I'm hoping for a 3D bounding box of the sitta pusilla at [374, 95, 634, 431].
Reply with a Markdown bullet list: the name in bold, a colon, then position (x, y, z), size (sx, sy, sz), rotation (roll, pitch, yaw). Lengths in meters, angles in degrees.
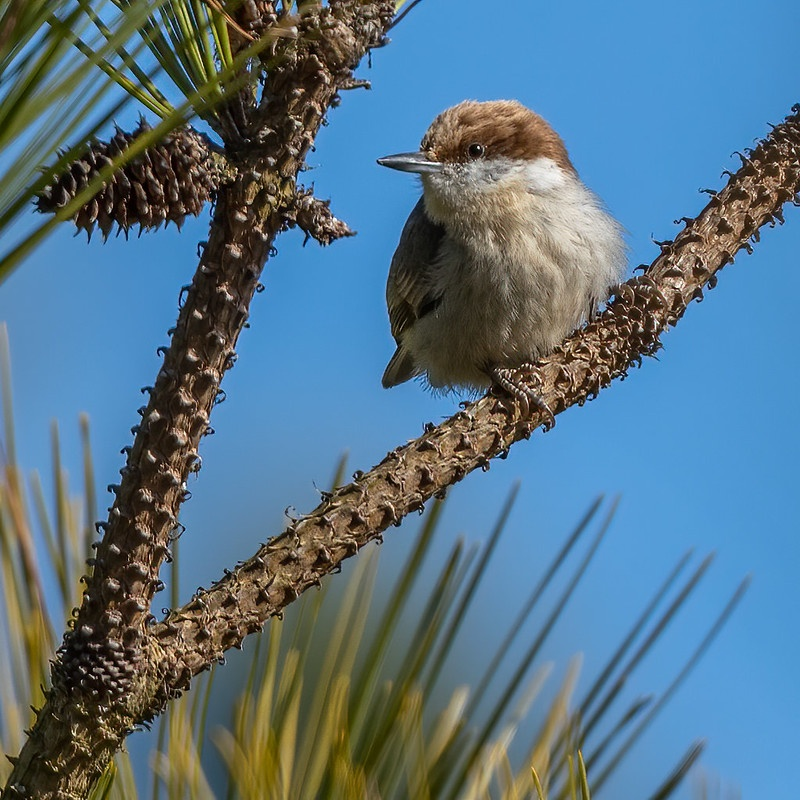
- **sitta pusilla**: position (0.183, -0.317, 3.546), size (0.730, 0.384, 0.743), rotation (-151, -124, -66)
